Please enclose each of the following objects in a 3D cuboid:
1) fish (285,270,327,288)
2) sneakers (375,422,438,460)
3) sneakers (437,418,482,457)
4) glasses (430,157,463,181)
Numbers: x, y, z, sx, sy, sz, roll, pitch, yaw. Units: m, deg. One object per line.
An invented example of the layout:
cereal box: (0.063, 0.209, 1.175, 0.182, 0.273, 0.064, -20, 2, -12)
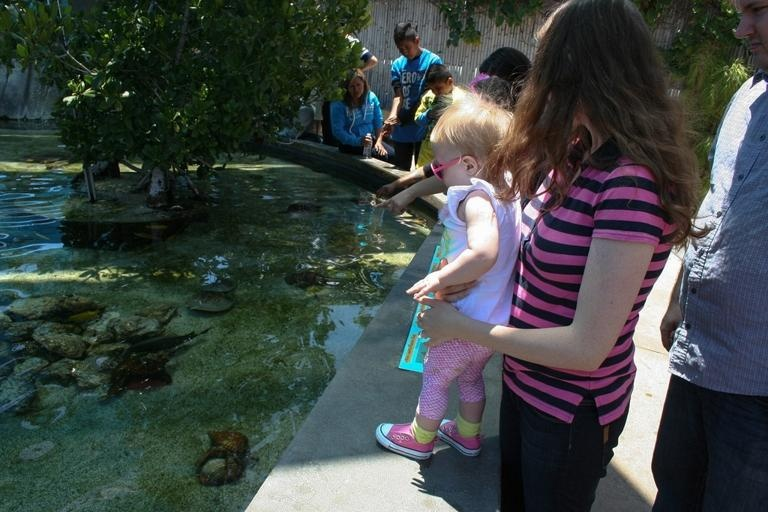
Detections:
fish: (-0.625, 0.182, 3.803, 0.308, 0.070, 0.281, 0, 14, -12)
sneakers: (0.079, 0.738, 1.915, 0.254, 0.094, 0.114, 18, 12, 9)
sneakers: (0.301, 0.726, 1.944, 0.086, 0.086, 0.231, -1, 12, -39)
glasses: (0.250, -0.343, 1.837, 0.081, 0.025, 0.077, -28, 10, -7)
